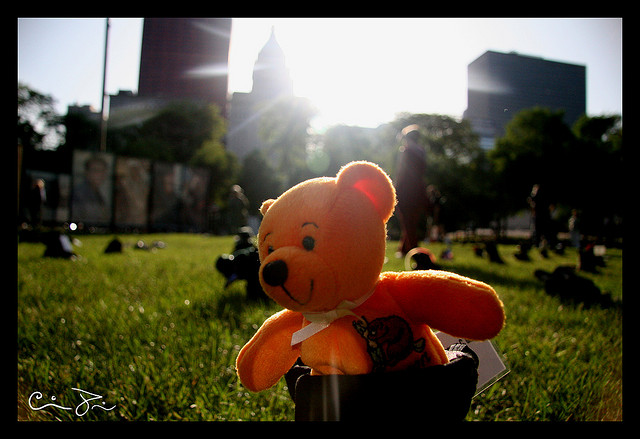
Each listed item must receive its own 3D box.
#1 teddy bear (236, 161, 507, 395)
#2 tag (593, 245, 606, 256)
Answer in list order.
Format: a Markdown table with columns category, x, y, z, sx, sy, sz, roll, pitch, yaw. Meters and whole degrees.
| category | x | y | z | sx | sy | sz | roll | pitch | yaw |
| --- | --- | --- | --- | --- | --- | --- | --- | --- | --- |
| teddy bear | 0.148 | 0.356 | 2.197 | 1.214 | 1.102 | 0.919 | -13 | -14 | 20 |
| tag | 1.405 | 0.152 | 2.408 | 0.017 | 0.061 | 0.071 | 0 | 5 | -17 |
